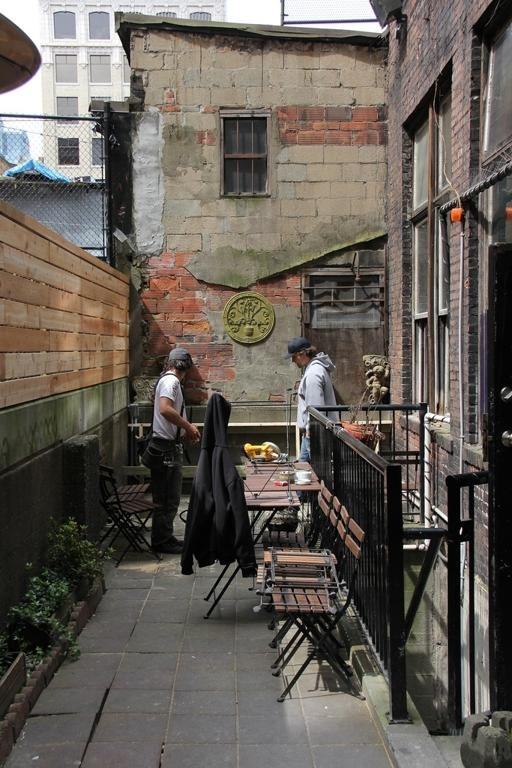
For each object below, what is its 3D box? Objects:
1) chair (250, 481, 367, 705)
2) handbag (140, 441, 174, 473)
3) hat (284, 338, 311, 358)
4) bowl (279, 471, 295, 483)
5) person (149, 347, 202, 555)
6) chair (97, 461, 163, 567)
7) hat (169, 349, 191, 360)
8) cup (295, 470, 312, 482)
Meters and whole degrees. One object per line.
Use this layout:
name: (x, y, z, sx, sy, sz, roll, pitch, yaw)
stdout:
chair: (0.319, 1.133, 4.121, 0.545, 0.864, 1.524, 0, -2, 1)
handbag: (-0.868, 0.683, 6.407, 0.245, 0.314, 0.234, 12, -6, -5)
hat: (0.422, -0.317, 7.399, 0.206, 0.138, 0.156, -6, 23, 49)
bowl: (0.254, 0.714, 5.456, 0.093, 0.059, 0.100, -2, 5, 0)
person: (-0.758, 0.623, 6.441, 0.411, 1.838, 0.728, 0, -2, -9)
chair: (-1.200, 1.185, 6.660, 0.601, 1.135, 0.980, -1, 5, -13)
hat: (-0.692, -0.233, 6.568, 0.104, 0.102, 0.169, 0, 4, 4)
cup: (0.379, 0.724, 5.543, 0.070, 0.086, 0.102, 2, -7, -8)
